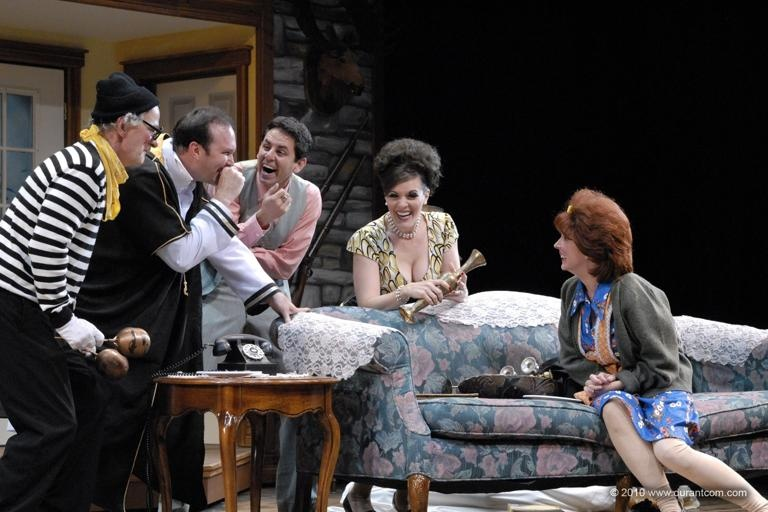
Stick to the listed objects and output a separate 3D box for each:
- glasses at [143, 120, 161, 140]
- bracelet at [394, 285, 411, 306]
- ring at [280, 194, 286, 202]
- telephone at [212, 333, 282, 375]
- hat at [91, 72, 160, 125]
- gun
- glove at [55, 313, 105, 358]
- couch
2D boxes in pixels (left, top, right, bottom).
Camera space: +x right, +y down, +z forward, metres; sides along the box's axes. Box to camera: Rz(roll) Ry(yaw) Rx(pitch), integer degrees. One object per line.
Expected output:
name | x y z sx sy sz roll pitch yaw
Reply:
glasses | -0.933 -0.516 3.221 0.019 0.065 0.064 -35 -11 10
bracelet | 0.099 0.195 3.925 0.069 0.088 0.039 7 38 34
ring | -0.521 -0.304 4.089 0.036 0.036 0.012 2 2 -13
telephone | -0.605 0.422 3.381 0.211 0.145 0.293 -5 -7 43
hat | -1.050 -0.634 3.249 0.254 0.177 0.192 -18 15 -9
gun | -0.413 -0.295 5.655 0.250 1.681 0.091 28 -5 -35
glove | -1.185 0.313 3.112 0.066 0.125 0.167 -1 -44 51
couch | 0.648 0.657 3.779 2.311 0.910 0.722 1 -6 -9
